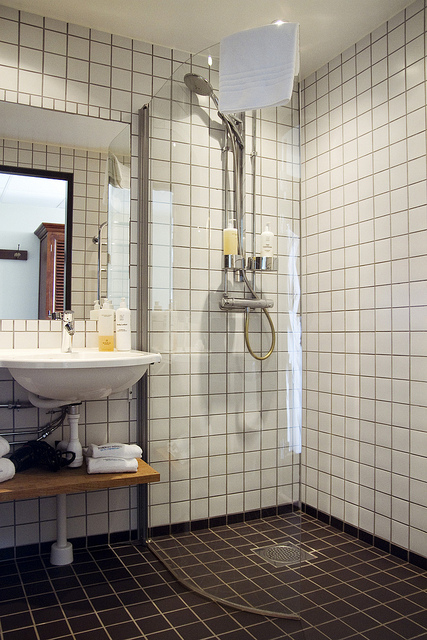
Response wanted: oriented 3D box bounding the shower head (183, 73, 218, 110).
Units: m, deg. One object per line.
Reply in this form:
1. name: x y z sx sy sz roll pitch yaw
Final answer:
1. shower head: -0.048 -0.788 1.761 0.032 0.154 0.180 -1 2 -33

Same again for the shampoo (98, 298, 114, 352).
1. shampoo: -0.454 0.043 2.164 0.068 0.178 0.051 -1 1 -24

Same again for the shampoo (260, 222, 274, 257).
1. shampoo: 0.168 -0.253 1.620 0.044 0.105 0.016 -1 1 7

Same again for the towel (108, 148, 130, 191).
1. towel: -0.428 -0.673 2.285 0.012 0.183 0.152 6 -1 35

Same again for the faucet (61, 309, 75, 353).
1. faucet: -0.595 0.048 2.070 0.046 0.164 0.088 -1 1 -20

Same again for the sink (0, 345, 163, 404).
1. sink: -0.505 0.243 1.925 0.549 0.259 0.586 -2 2 -26

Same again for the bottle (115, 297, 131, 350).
1. bottle: -0.389 0.020 2.187 0.069 0.213 0.079 -1 1 -13

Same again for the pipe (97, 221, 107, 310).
1. pipe: -0.489 -0.244 2.237 0.044 0.365 0.013 -1 1 -26

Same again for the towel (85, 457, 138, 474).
1. towel: -0.393 0.551 1.967 0.186 0.060 0.125 -2 2 -20

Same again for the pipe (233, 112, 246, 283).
1. pipe: 0.086 -0.391 1.646 0.022 0.541 0.062 -1 1 -38

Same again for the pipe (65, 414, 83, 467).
1. pipe: -0.552 0.470 2.031 0.059 0.199 0.146 -1 1 -5

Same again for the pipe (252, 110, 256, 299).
1. pipe: 0.129 -0.357 1.616 0.011 0.583 0.047 -1 1 -6

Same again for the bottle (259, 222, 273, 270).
1. bottle: 0.165 -0.232 1.618 0.042 0.143 0.013 -1 1 1

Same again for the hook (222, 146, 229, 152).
1. hook: 0.038 -0.562 1.686 0.021 0.026 0.012 -1 -3 36

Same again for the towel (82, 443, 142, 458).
1. towel: -0.386 0.517 2.009 0.195 0.050 0.088 -1 2 -12

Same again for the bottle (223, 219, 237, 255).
1. bottle: 0.052 -0.269 1.671 0.011 0.116 0.063 -1 1 -43

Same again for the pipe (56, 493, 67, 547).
1. pipe: -0.597 0.799 2.046 0.032 0.204 0.035 -4 -8 23
